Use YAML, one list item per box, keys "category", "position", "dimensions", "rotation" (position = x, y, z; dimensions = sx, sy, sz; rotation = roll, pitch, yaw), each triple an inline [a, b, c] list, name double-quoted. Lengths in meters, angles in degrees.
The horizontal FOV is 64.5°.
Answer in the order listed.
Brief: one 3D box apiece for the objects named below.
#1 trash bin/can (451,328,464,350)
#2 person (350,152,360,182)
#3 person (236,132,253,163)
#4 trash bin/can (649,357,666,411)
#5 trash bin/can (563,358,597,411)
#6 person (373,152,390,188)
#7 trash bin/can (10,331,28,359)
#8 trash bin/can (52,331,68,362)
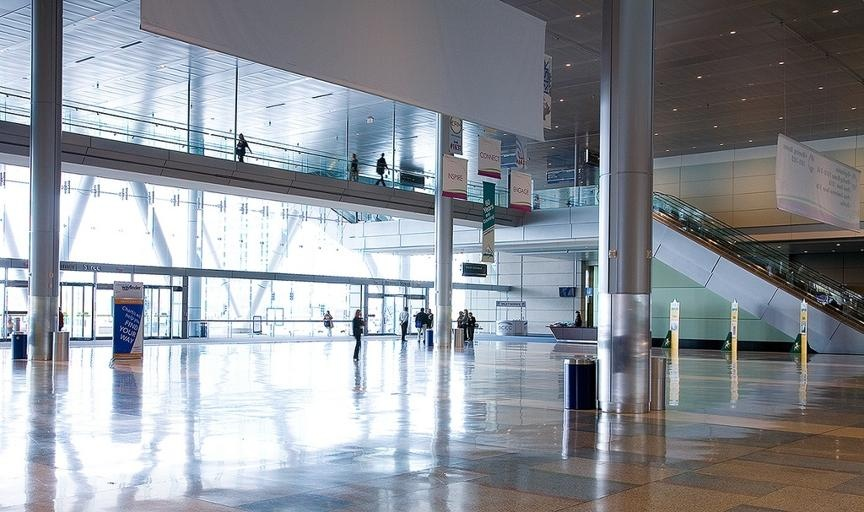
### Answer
- category: "trash bin/can"
  position: [1.197, 3.762, 32.074]
  dimensions: [0.480, 0.809, 0.907]
  rotation: [1, -6, -3]
- category: "person"
  position: [-3.500, -3.880, 31.061]
  dimensions: [0.271, 1.082, 0.682]
  rotation: [-2, -7, 24]
- category: "person"
  position: [-7.702, -4.420, 28.001]
  dimensions: [0.557, 1.335, 0.866]
  rotation: [1, -6, -4]
- category: "trash bin/can"
  position: [4.521, 2.538, 13.720]
  dimensions: [0.266, 1.031, 0.507]
  rotation: [-3, -7, 26]
- category: "trash bin/can"
  position: [2.980, 2.548, 13.727]
  dimensions: [0.651, 0.988, 0.473]
  rotation: [-1, -6, 9]
- category: "person"
  position: [-2.354, -4.064, 32.282]
  dimensions: [0.515, 1.616, 0.995]
  rotation: [1, -6, -4]
- category: "trash bin/can"
  position: [-13.752, 2.973, 22.913]
  dimensions: [0.386, 0.812, 0.378]
  rotation: [4, -7, -34]
- category: "trash bin/can"
  position: [-11.858, 2.865, 21.961]
  dimensions: [0.706, 0.923, 0.374]
  rotation: [-4, -7, 33]
